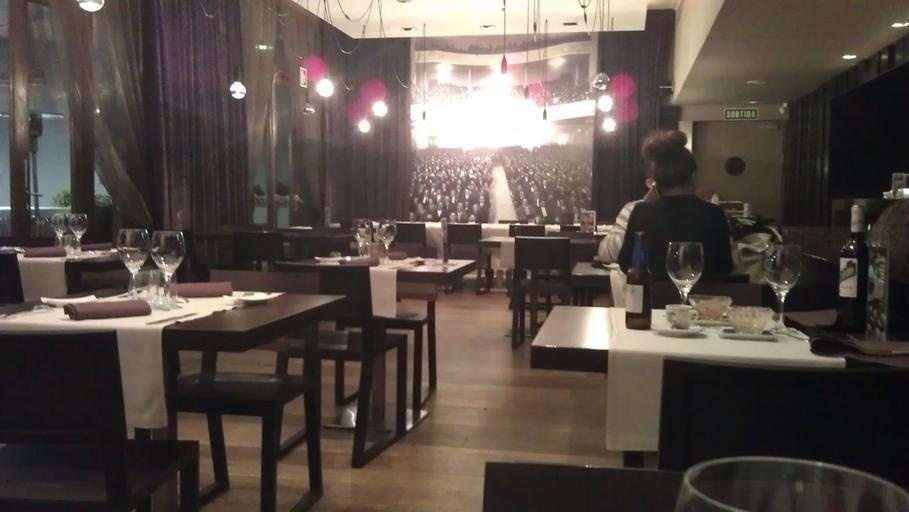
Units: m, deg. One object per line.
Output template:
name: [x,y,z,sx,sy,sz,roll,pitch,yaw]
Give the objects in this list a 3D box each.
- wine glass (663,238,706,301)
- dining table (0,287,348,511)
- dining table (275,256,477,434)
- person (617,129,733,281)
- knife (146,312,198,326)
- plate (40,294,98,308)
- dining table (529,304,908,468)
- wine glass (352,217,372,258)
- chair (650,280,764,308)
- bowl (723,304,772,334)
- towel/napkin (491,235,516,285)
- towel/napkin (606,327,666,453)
wine glass: [1.106,0.093,3.303,0.156,0.326,0.394,0,6,19]
dining table: [-1.076,0.527,3.334,0.954,0.705,0.919,2,8,14]
dining table: [-0.484,0.358,4.681,1.348,1.133,1.040,0,7,9]
person: [1.367,-0.103,4.365,0.712,1.264,0.621,5,2,21]
knife: [-1.317,0.298,3.199,0.055,0.012,0.237,9,12,38]
plate: [-1.855,0.221,3.333,0.131,0.036,0.159,-3,-1,40]
dining table: [1.094,0.502,2.735,1.042,0.671,1.044,0,0,3]
wine glass: [-0.657,-0.127,4.969,0.132,0.258,0.367,-2,5,-8]
chair: [1.305,0.192,3.544,0.356,0.116,0.237,0,2,25]
bowl: [1.312,0.280,3.043,0.138,0.071,0.138,-2,0,0]
towel/napkin: [0.557,0.030,7.822,0.331,0.401,0.615,1,6,5]
towel/napkin: [0.754,0.588,2.850,0.232,0.483,0.454,0,6,17]
